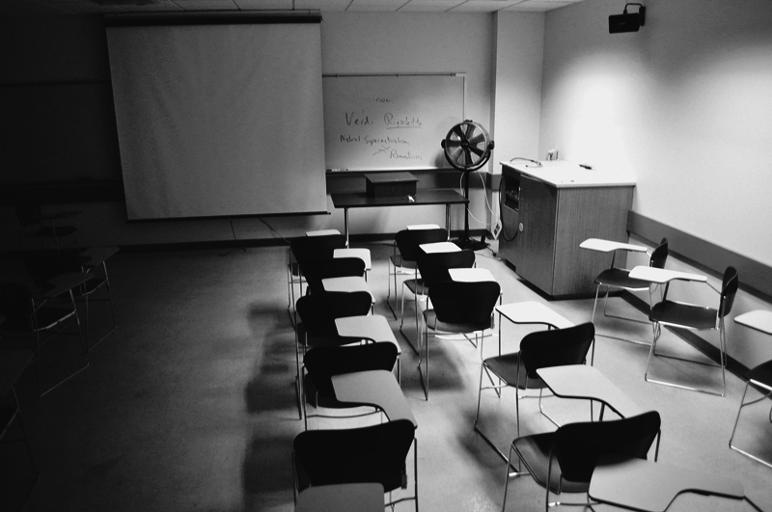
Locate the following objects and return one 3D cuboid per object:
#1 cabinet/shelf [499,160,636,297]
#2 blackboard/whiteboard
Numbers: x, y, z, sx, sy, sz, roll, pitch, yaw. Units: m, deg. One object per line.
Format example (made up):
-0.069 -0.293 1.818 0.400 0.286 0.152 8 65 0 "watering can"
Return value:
2.029 -0.412 6.468 0.942 1.348 1.731 -3 20 -3 "cabinet/shelf"
0.066 -1.900 7.380 1.376 0.937 0.105 -3 20 -4 "blackboard/whiteboard"
